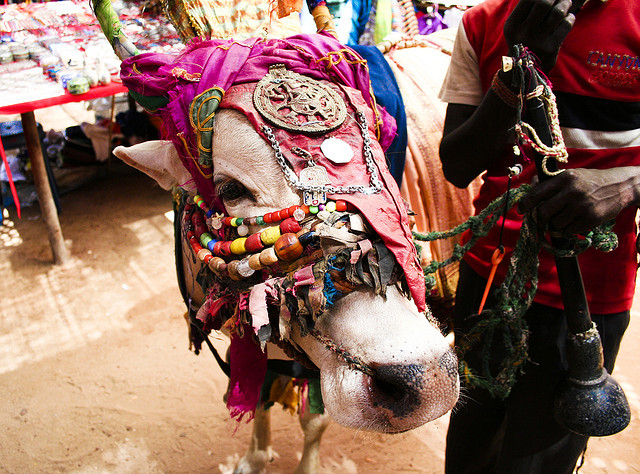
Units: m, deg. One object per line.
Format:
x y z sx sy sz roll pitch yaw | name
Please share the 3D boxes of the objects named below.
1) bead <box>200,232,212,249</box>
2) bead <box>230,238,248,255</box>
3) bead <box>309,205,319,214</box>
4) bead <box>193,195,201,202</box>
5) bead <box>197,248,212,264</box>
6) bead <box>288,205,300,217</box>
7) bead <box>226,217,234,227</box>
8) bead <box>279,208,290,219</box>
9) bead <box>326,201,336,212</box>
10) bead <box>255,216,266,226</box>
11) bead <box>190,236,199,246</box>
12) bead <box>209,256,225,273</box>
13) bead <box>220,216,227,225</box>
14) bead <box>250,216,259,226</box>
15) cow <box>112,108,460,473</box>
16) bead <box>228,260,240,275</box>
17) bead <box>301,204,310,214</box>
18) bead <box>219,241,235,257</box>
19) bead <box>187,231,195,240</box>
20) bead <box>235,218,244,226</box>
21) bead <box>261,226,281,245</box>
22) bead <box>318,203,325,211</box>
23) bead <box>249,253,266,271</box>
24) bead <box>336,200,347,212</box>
-0.519 0.017 2.586 0.041 0.027 0.074 5 39 -13 | bead
-0.338 0.042 2.388 0.066 0.033 0.064 -34 60 16 | bead
-0.024 -0.107 2.294 0.038 0.029 0.029 -8 30 1 | bead
-0.574 -0.173 2.665 0.021 0.027 0.027 -7 14 37 | bead
-0.518 0.087 2.564 0.064 0.033 0.062 0 14 -2 | bead
-0.103 -0.101 2.312 0.049 0.033 0.034 -20 32 -18 | bead
-0.389 -0.064 2.449 0.035 0.033 0.035 -40 0 -15 | bead
-0.144 -0.090 2.314 0.041 0.039 0.022 -10 20 14 | bead
0.043 -0.118 2.275 0.036 0.040 0.035 21 -8 -36 | bead
-0.243 -0.062 2.359 0.034 0.039 0.033 -2 12 -30 | bead
-0.587 0.020 2.666 0.031 0.040 0.015 -3 -6 5 | bead
-0.441 0.117 2.457 0.050 0.066 0.052 8 46 -2 | bead
-0.420 -0.069 2.493 0.027 0.016 0.031 -19 2 -36 | bead
-0.276 -0.062 2.377 0.035 0.034 0.030 -21 56 -18 | bead
-0.075 0.619 2.820 0.533 2.455 1.546 -32 37 -33 | cow
-0.362 0.128 2.394 0.036 0.046 0.052 10 36 9 | bead
-0.059 -0.108 2.301 0.033 0.030 0.032 12 -1 5 | bead
-0.393 0.053 2.442 0.061 0.059 0.068 -4 38 -14 | bead
-0.605 -0.007 2.702 0.034 0.017 0.032 7 76 12 | bead
-0.338 -0.061 2.413 0.025 0.025 0.032 -4 -14 -36 | bead
-0.200 -0.005 2.313 0.078 0.036 0.062 -44 72 5 | bead
0.006 -0.117 2.288 0.020 0.020 0.025 -16 47 -17 | bead
-0.255 0.111 2.329 0.067 0.037 0.063 6 60 -8 | bead
0.085 -0.120 2.278 0.041 0.037 0.035 -3 31 10 | bead
